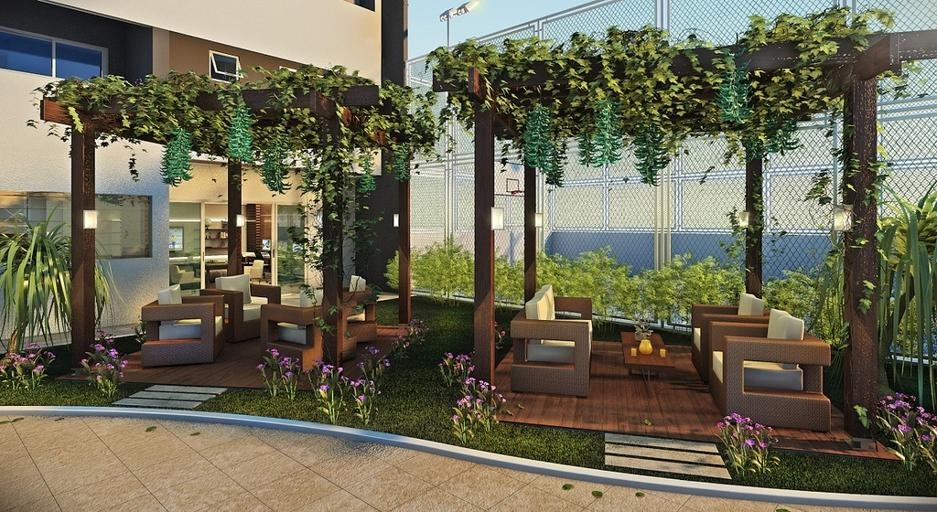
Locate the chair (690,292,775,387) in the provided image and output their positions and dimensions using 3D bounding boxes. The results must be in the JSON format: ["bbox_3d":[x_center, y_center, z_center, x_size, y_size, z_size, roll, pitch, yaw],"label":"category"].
[{"bbox_3d":[4.701,1.373,11.156,1.133,1.333,1.519,-1,3,13],"label":"chair"}]

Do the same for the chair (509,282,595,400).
[{"bbox_3d":[1.482,0.909,11.115,1.583,1.628,3.059,-1,1,12],"label":"chair"}]

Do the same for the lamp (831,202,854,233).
[{"bbox_3d":[5.465,-0.579,9.059,0.389,0.487,0.367,0,0,11],"label":"lamp"}]

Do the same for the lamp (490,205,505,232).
[{"bbox_3d":[0.479,-0.618,10.026,0.117,0.352,0.282,1,4,44],"label":"lamp"}]

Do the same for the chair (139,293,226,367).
[{"bbox_3d":[-5.469,1.290,12.129,1.503,1.226,1.754,1,5,-6],"label":"chair"}]

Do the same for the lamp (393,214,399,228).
[{"bbox_3d":[-1.577,-0.825,13.942,0.091,0.265,0.079,-2,3,-5],"label":"lamp"}]

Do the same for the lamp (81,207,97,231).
[{"bbox_3d":[-6.818,-0.679,11.187,0.117,0.377,0.170,0,3,31],"label":"lamp"}]

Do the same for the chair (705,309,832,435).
[{"bbox_3d":[4.926,1.762,10.342,1.537,1.633,2.020,1,2,15],"label":"chair"}]

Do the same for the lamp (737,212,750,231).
[{"bbox_3d":[5.102,-0.673,11.520,0.209,0.338,0.349,-1,3,13],"label":"lamp"}]
